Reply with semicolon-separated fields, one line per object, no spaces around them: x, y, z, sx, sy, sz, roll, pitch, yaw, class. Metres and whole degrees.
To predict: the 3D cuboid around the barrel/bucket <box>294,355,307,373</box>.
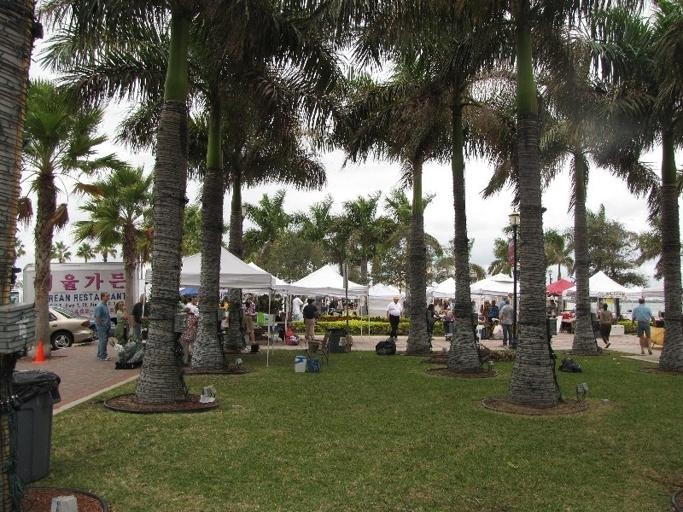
-1.177;3.030;16.021;0.331;0.537;0.359;0;-5;0;barrel/bucket

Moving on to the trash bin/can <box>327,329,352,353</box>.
-0.083;3.247;21.552;0.890;1.021;0.942;1;-6;-8;trash bin/can

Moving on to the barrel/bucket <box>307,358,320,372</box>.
-0.811;3.086;16.106;0.347;0.407;0.264;-3;1;-9;barrel/bucket

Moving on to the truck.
-8.987;1.556;19.799;2.779;2.177;1.724;0;-3;-8;truck
